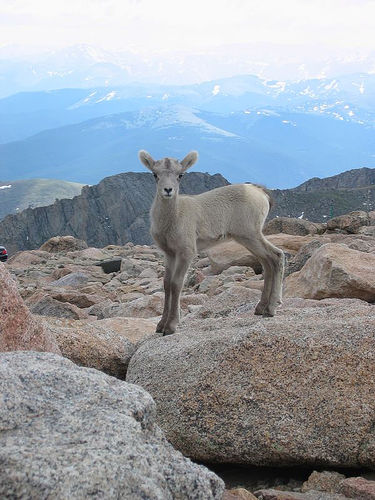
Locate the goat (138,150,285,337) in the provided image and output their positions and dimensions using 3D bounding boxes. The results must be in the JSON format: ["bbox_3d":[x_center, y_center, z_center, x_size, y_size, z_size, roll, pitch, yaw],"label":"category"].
[{"bbox_3d":[0.206,-0.035,6.071,1.673,2.052,1.005,-1,2,-16],"label":"goat"}]
